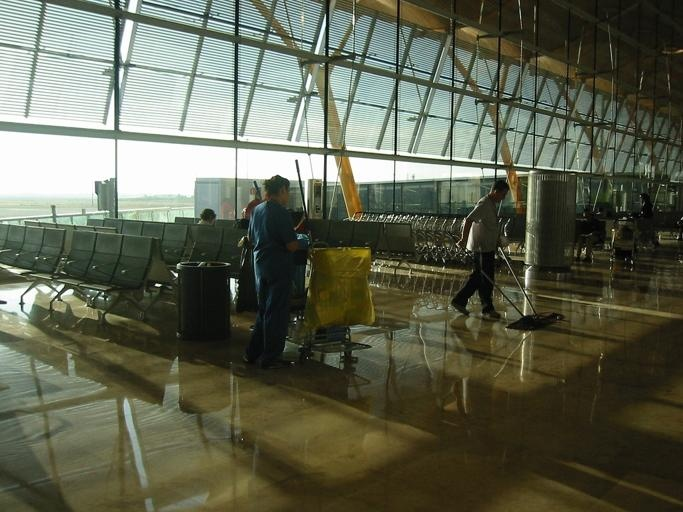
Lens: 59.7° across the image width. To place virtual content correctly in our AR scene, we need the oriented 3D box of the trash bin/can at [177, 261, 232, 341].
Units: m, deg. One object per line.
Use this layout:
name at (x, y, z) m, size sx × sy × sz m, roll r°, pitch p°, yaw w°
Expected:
trash bin/can at (-1.486, 0.440, 6.525) m, size 0.561 × 0.853 × 0.508 m, roll -2°, pitch 3°, yaw -41°

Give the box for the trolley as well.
trolley at (-0.198, 0.440, 6.402) m, size 1.034 × 1.128 × 0.860 m, roll 4°, pitch 7°, yaw -12°

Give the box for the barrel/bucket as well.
barrel/bucket at (-1.533, 0.445, 6.604) m, size 0.524 × 0.844 × 0.521 m, roll 1°, pitch 2°, yaw 0°
